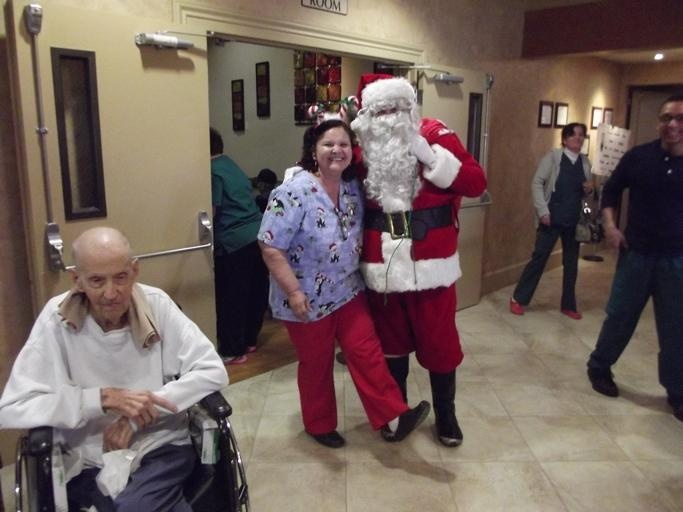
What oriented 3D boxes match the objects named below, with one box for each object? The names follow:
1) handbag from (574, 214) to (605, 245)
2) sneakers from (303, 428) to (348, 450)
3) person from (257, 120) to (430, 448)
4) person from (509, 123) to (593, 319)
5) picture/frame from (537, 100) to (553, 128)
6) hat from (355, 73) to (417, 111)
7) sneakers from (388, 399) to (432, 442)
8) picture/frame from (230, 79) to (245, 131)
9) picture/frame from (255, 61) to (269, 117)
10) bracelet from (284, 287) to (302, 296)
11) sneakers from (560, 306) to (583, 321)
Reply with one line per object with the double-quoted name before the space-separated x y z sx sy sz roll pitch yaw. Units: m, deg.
"handbag" 2.164 -0.237 4.726 0.201 0.306 0.289 -7 -25 33
"sneakers" -0.095 0.976 2.977 0.211 0.101 0.082 7 10 28
"person" -0.028 0.209 2.686 0.728 1.706 0.457 0 17 2
"person" 1.894 -0.324 4.796 0.562 1.606 0.737 7 19 25
"picture/frame" 2.200 -1.553 5.848 0.019 0.286 0.263 7 18 38
"hat" 0.202 -0.824 2.705 0.241 0.162 0.331 -11 21 -29
"sneakers" 0.354 0.861 2.798 0.118 0.297 0.099 46 6 31
"picture/frame" -1.253 -1.851 6.582 0.221 0.583 0.050 10 15 43
"picture/frame" -0.916 -1.941 6.273 0.030 0.621 0.276 -9 16 -37
"bracelet" -0.225 0.166 2.556 0.067 0.043 0.021 -2 17 -4
"sneakers" 2.048 0.497 4.786 0.069 0.087 0.193 -9 16 -24
